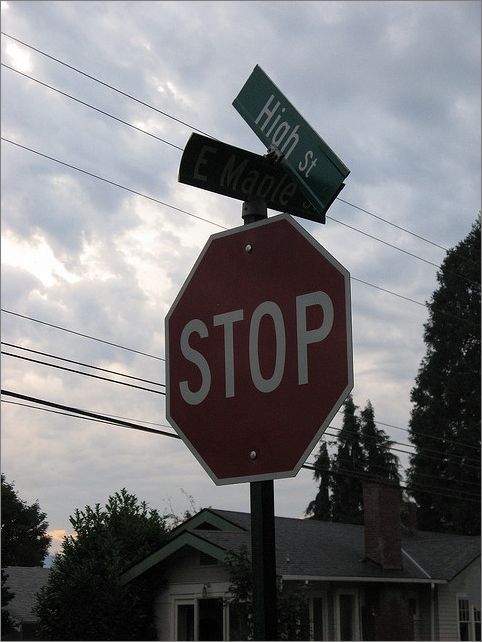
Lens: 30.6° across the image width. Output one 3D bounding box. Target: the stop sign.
[{"bbox_3d":[0.057,0.102,2.803,0.797,0.941,0.110,-13,-24,31],"label":"stop sign"}]
